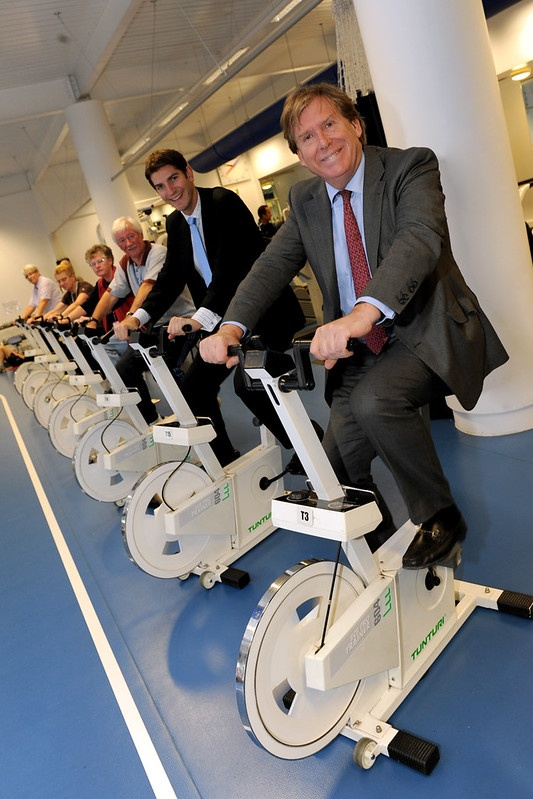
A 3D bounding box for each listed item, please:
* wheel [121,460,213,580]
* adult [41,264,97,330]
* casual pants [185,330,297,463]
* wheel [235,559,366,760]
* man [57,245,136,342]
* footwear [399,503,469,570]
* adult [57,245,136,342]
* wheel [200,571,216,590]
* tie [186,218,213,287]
[{"bbox_3d":[-0.466,0.498,2.360,0.122,0.461,0.464,-6,16,45],"label":"wheel"},{"bbox_3d":[-2.654,-1.380,7.395,0.477,0.815,0.822,1,20,25],"label":"adult"},{"bbox_3d":[-0.021,0.019,2.804,0.256,0.511,0.279,-35,24,38],"label":"casual pants"},{"bbox_3d":[0.092,0.593,1.264,0.403,0.397,0.107,-2,-6,-45],"label":"wheel"},{"bbox_3d":[-1.560,-1.047,5.214,0.367,0.704,0.810,5,17,23],"label":"man"},{"bbox_3d":[0.454,0.360,1.481,0.098,0.117,0.285,-3,11,39],"label":"footwear"},{"bbox_3d":[-1.542,-1.059,5.219,0.346,0.696,0.807,9,24,39],"label":"adult"},{"bbox_3d":[-0.244,0.757,2.315,0.038,0.074,0.074,-2,-15,34],"label":"wheel"},{"bbox_3d":[-0.346,-0.773,2.870,0.045,0.389,0.057,-28,15,-37],"label":"tie"}]
